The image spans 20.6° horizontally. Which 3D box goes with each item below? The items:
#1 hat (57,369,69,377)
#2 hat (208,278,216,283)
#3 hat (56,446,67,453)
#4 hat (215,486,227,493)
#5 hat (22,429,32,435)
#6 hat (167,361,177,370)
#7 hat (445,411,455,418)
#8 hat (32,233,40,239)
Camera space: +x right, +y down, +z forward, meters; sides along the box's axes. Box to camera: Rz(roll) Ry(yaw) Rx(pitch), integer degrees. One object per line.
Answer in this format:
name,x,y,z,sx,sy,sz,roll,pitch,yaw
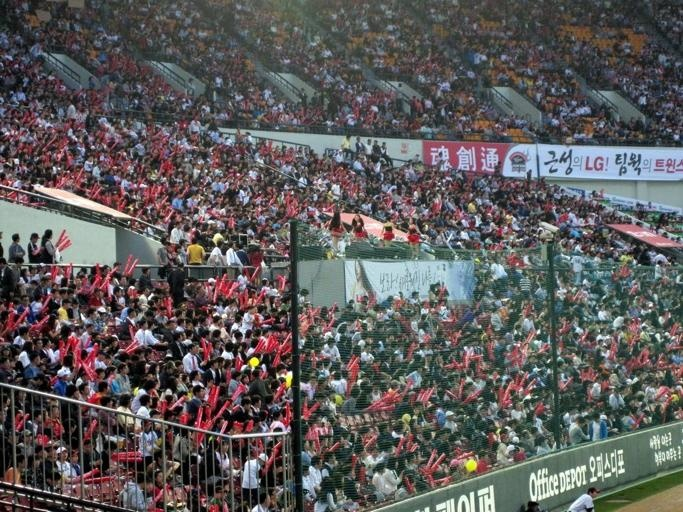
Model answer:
hat,-7.871,3.380,53.520,0.329,0.208,0.220,-1,-4,-13
hat,-4.169,0.839,60.227,0.183,0.094,0.126,-9,6,-4
hat,-7.735,5.442,52.140,0.288,0.214,0.473,5,-16,-23
hat,-3.380,6.604,52.476,0.228,0.239,0.186,-7,4,-15
hat,-8.668,4.943,52.046,0.290,0.229,0.352,-1,-4,-15
hat,-4.947,3.256,54.888,0.179,0.243,0.242,2,-11,27
hat,3.034,4.551,53.530,0.272,0.158,0.048,0,-4,-33
hat,-9.619,-0.569,59.356,0.238,0.241,0.185,-5,3,-7
